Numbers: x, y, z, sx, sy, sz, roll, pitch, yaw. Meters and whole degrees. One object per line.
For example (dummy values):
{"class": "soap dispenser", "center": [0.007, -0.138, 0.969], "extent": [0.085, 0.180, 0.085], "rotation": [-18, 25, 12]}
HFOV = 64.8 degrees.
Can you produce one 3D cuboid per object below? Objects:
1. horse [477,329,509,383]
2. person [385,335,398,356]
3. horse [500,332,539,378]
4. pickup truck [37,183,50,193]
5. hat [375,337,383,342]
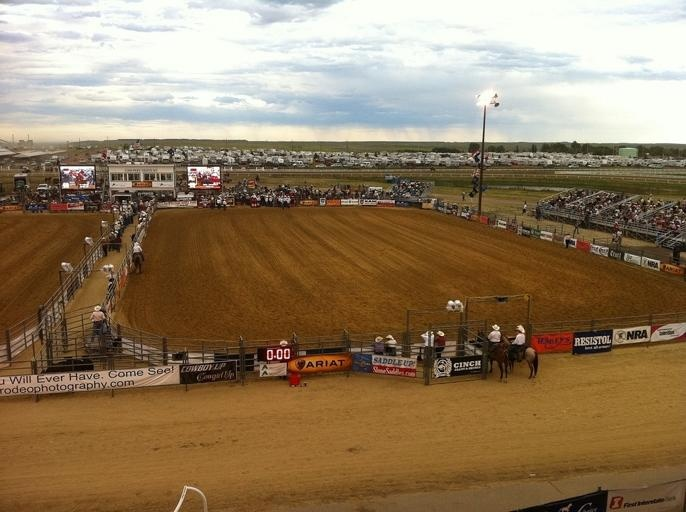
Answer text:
{"class": "horse", "center": [6.730, 4.442, 23.999], "extent": [0.985, 1.546, 2.817], "rotation": [8, -2, -8]}
{"class": "person", "center": [2.115, 4.060, 24.147], "extent": [0.496, 0.891, 0.971], "rotation": [-2, 6, 3]}
{"class": "horse", "center": [7.761, 4.499, 23.867], "extent": [0.799, 1.349, 2.588], "rotation": [7, -5, -23]}
{"class": "pickup truck", "center": [-45.683, -10.259, 82.750], "extent": [1.558, 0.922, 2.596], "rotation": [-3, 8, -28]}
{"class": "hat", "center": [1.660, 3.932, 25.341], "extent": [0.475, 0.146, 0.531], "rotation": [0, 9, 4]}
